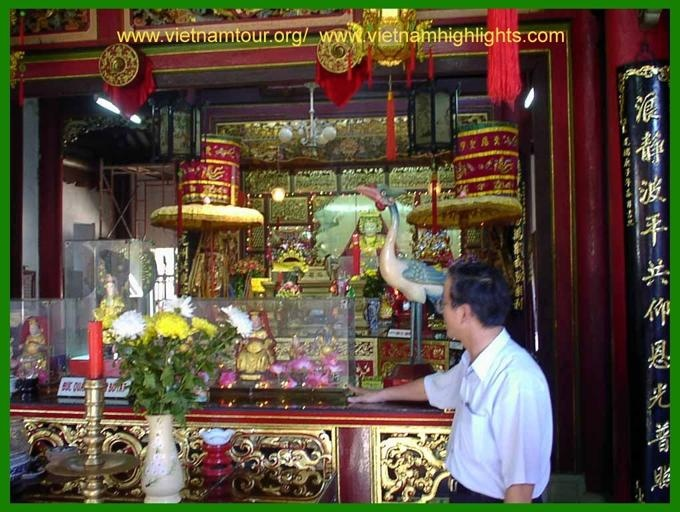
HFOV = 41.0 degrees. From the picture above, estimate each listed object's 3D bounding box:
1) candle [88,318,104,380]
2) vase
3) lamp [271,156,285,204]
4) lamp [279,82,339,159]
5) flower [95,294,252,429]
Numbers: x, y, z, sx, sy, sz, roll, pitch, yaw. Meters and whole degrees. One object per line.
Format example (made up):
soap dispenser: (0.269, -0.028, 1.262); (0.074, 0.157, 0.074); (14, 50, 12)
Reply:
candle: (-1.200, 0.469, 4.506); (0.060, 0.285, 0.085); (-8, -9, 43)
vase: (-0.903, 1.031, 4.649); (0.207, 0.444, 0.126); (0, -7, -13)
lamp: (-0.701, -0.877, 10.514); (0.167, 0.512, 0.557); (-1, -7, -4)
lamp: (-0.300, -1.470, 9.688); (0.444, 0.706, 0.544); (1, 0, -22)
flower: (-0.918, 0.506, 4.921); (0.683, 0.728, 0.680); (2, -2, 17)
